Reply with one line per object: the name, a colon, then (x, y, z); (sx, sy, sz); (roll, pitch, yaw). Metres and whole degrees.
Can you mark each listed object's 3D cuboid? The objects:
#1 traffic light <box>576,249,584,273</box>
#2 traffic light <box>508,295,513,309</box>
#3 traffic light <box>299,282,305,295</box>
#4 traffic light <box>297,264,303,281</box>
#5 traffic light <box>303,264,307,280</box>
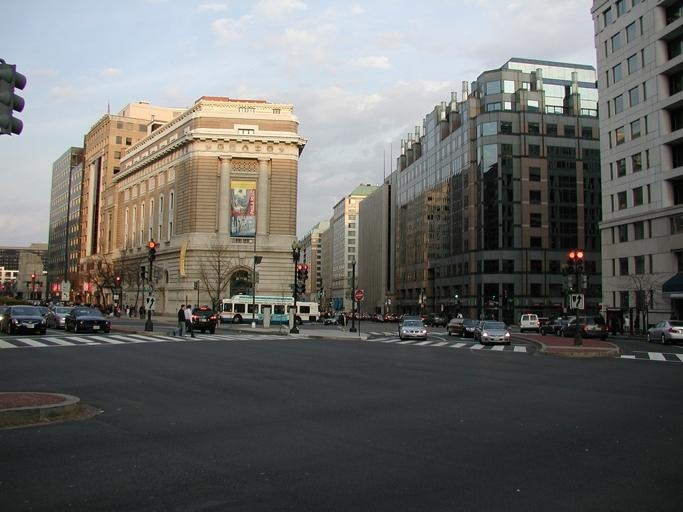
traffic light: (13.499, 0.260, 35.838); (0.335, 1.255, 1.239); (0, -3, 27)
traffic light: (23.428, 6.262, 87.100); (1.035, 2.102, 1.033); (-1, -3, 13)
traffic light: (-2.955, 2.570, 49.602); (0.632, 0.998, 0.735); (0, -7, -3)
traffic light: (-2.967, 1.165, 47.422); (0.410, 1.060, 1.636); (1, -3, -4)
traffic light: (-2.610, 1.118, 47.133); (0.243, 0.949, 1.062); (1, -3, 8)
